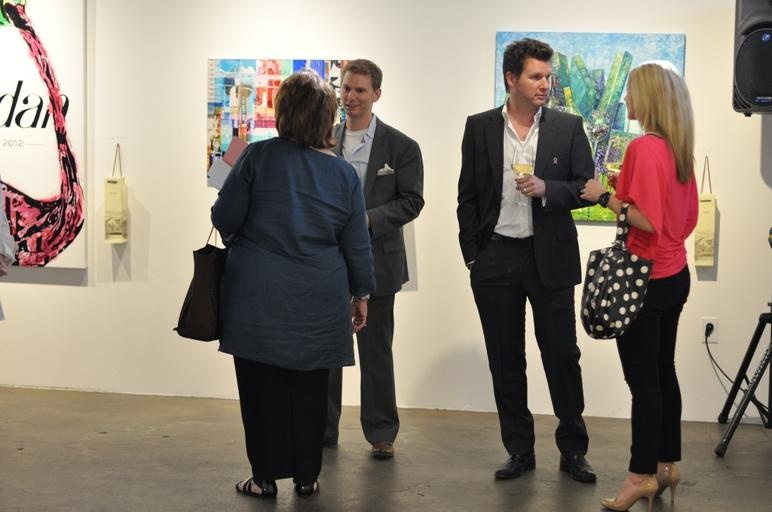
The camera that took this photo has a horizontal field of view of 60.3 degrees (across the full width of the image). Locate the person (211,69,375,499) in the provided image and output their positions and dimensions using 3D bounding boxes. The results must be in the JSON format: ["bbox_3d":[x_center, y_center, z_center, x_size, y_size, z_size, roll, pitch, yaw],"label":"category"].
[{"bbox_3d":[-0.483,0.187,3.552,0.845,2.298,0.307,-1,8,-15],"label":"person"}]

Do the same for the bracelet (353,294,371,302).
[{"bbox_3d":[-0.151,0.235,3.701,0.062,0.032,0.056,-1,8,16],"label":"bracelet"}]

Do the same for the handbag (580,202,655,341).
[{"bbox_3d":[1.205,0.084,3.492,0.329,0.695,0.196,3,8,16],"label":"handbag"}]

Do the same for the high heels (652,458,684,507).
[{"bbox_3d":[1.556,1.226,3.693,0.170,0.352,0.109,-8,-9,27],"label":"high heels"}]

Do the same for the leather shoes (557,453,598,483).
[{"bbox_3d":[1.120,1.251,3.926,0.091,0.107,0.252,-2,-4,-17],"label":"leather shoes"}]

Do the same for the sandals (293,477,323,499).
[{"bbox_3d":[-0.447,1.285,3.690,0.079,0.066,0.160,4,13,11],"label":"sandals"}]

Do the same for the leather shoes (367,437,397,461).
[{"bbox_3d":[-0.033,1.221,4.205,0.124,0.104,0.244,-1,-1,0],"label":"leather shoes"}]

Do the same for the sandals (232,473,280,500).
[{"bbox_3d":[-0.713,1.280,3.719,0.216,0.093,0.106,4,0,34],"label":"sandals"}]

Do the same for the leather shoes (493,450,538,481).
[{"bbox_3d":[0.767,1.257,4.021,0.293,0.131,0.104,-1,-2,-42],"label":"leather shoes"}]
